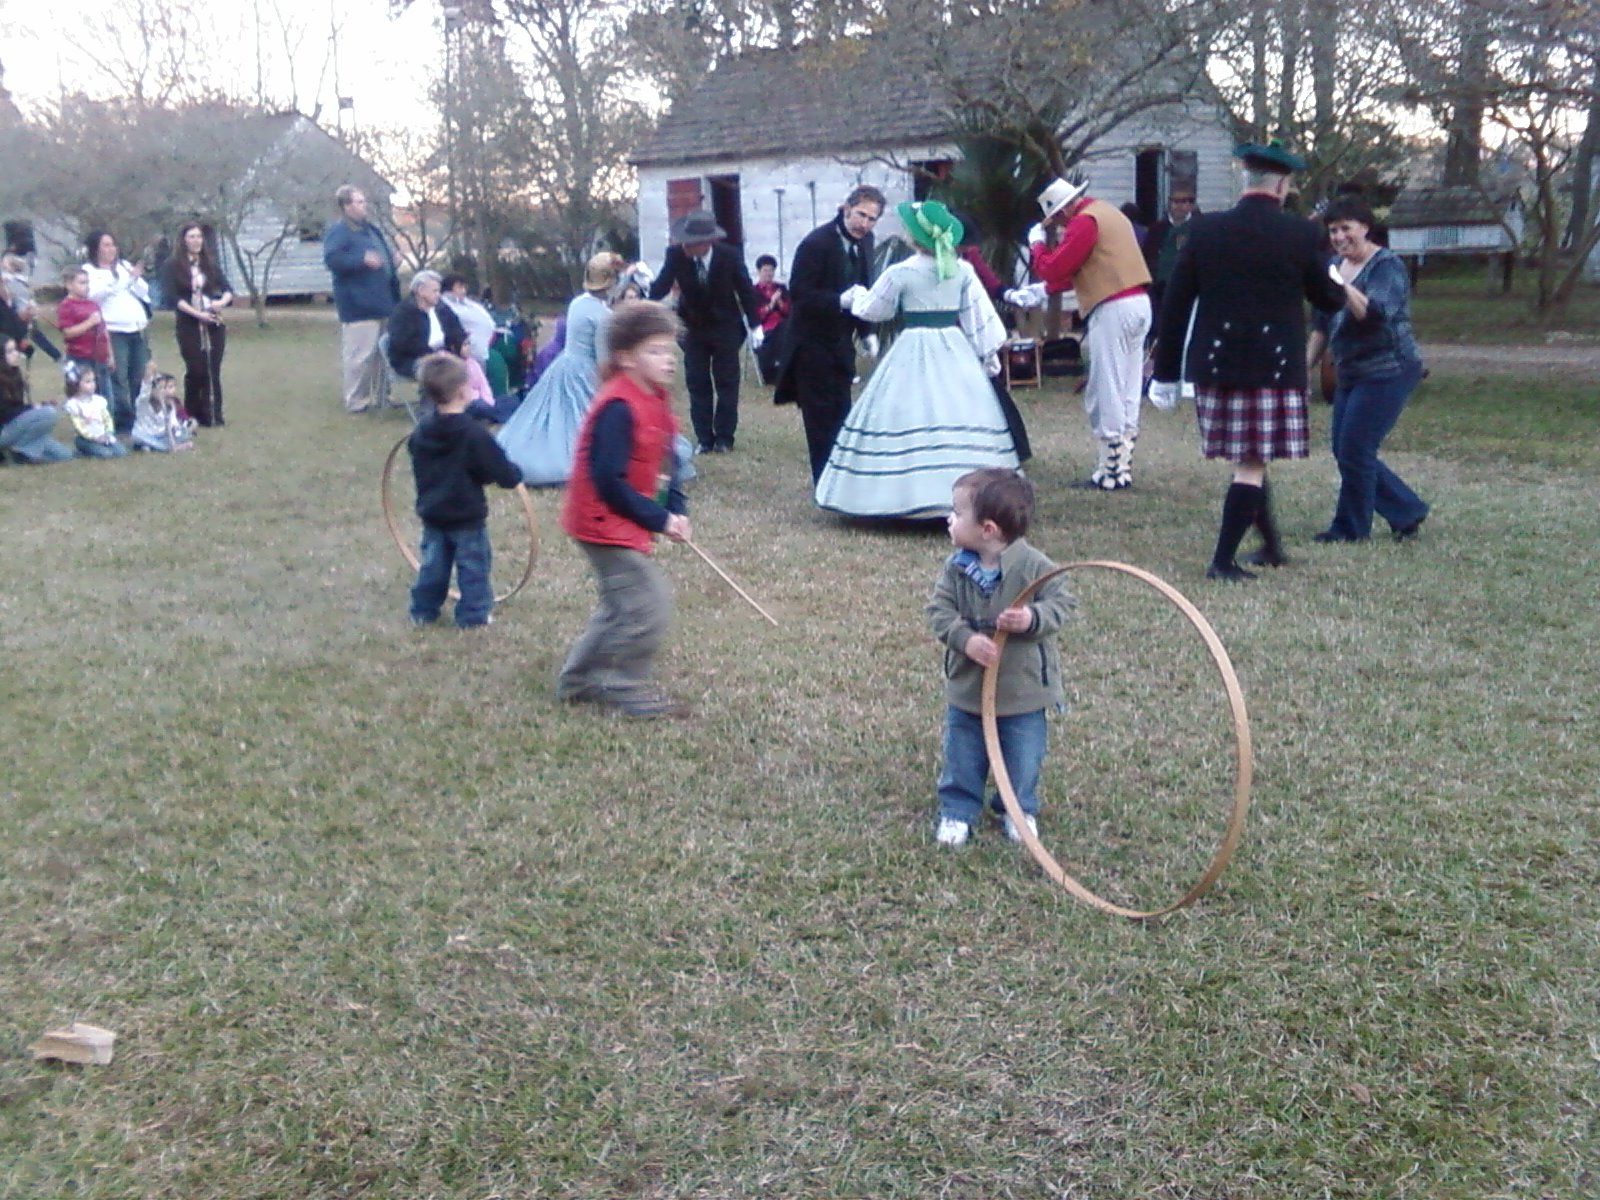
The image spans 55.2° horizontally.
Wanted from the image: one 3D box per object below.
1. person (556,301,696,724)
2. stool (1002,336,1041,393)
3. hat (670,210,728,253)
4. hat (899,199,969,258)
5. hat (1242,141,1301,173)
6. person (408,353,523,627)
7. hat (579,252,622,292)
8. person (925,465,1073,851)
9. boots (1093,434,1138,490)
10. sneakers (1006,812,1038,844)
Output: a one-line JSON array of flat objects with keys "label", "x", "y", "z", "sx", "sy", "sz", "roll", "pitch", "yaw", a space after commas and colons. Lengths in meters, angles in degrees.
[{"label": "person", "x": -0.718, "y": -0.390, "z": 6.095, "sx": 0.524, "sy": 1.562, "sz": 0.694, "roll": -3, "pitch": 15, "yaw": -7}, {"label": "stool", "x": 2.142, "y": -2.301, "z": 14.700, "sx": 0.435, "sy": 0.557, "sz": 0.540, "roll": 2, "pitch": 4, "yaw": 10}, {"label": "hat", "x": -0.684, "y": -2.544, "z": 10.513, "sx": 0.287, "sy": 0.253, "sz": 0.544, "roll": -4, "pitch": 17, "yaw": -9}, {"label": "hat", "x": 0.715, "y": -2.024, "z": 8.322, "sx": 0.260, "sy": 0.277, "sz": 0.473, "roll": 10, "pitch": 20, "yaw": 35}, {"label": "hat", "x": 2.195, "y": -2.046, "z": 7.121, "sx": 0.276, "sy": 0.135, "sz": 0.370, "roll": 4, "pitch": 18, "yaw": 16}, {"label": "person", "x": -1.531, "y": -0.487, "z": 6.901, "sx": 0.641, "sy": 1.217, "sz": 0.317, "roll": 8, "pitch": 17, "yaw": 30}, {"label": "hat", "x": -1.205, "y": -2.037, "z": 9.474, "sx": 0.223, "sy": 0.238, "sz": 0.321, "roll": -2, "pitch": 16, "yaw": -5}, {"label": "person", "x": 0.662, "y": 0.180, "z": 5.097, "sx": 0.462, "sy": 1.226, "sz": 0.383, "roll": 0, "pitch": 14, "yaw": 5}, {"label": "boots", "x": 1.975, "y": -0.897, "z": 9.568, "sx": 0.325, "sy": 0.406, "sz": 0.238, "roll": 6, "pitch": 24, "yaw": 10}, {"label": "sneakers", "x": 0.748, "y": 0.763, "z": 5.110, "sx": 0.056, "sy": 0.073, "sz": 0.142, "roll": -4, "pitch": 1, "yaw": -30}]
